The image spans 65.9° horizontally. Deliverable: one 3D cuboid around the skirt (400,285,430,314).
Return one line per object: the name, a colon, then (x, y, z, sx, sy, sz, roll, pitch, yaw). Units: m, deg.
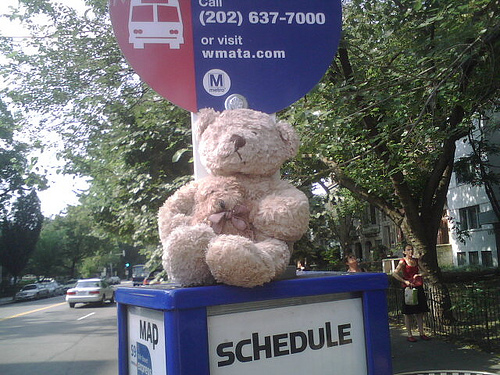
skirt: (3.651, 2.496, 8.580, 0.519, 0.658, 0.591, -8, -11, 22)

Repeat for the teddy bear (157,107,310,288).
teddy bear: (-0.080, 0.074, 2.067, 0.731, 0.974, 0.820, 0, -11, 10)

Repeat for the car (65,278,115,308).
car: (-10.489, 6.983, 25.605, 2.020, 1.761, 2.876, -3, -10, -2)

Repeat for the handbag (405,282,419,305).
handbag: (3.532, 2.334, 8.535, 0.317, 0.630, 0.348, 0, -2, 21)

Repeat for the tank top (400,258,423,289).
tank top: (3.632, 1.916, 8.710, 0.384, 0.640, 0.696, -7, -11, 22)

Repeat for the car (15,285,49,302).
car: (-21.047, 10.142, 37.291, 1.777, 1.421, 3.935, -1, -11, -14)

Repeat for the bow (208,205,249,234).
bow: (-0.097, 0.151, 1.826, 0.187, 0.129, 0.044, -3, -9, -3)
